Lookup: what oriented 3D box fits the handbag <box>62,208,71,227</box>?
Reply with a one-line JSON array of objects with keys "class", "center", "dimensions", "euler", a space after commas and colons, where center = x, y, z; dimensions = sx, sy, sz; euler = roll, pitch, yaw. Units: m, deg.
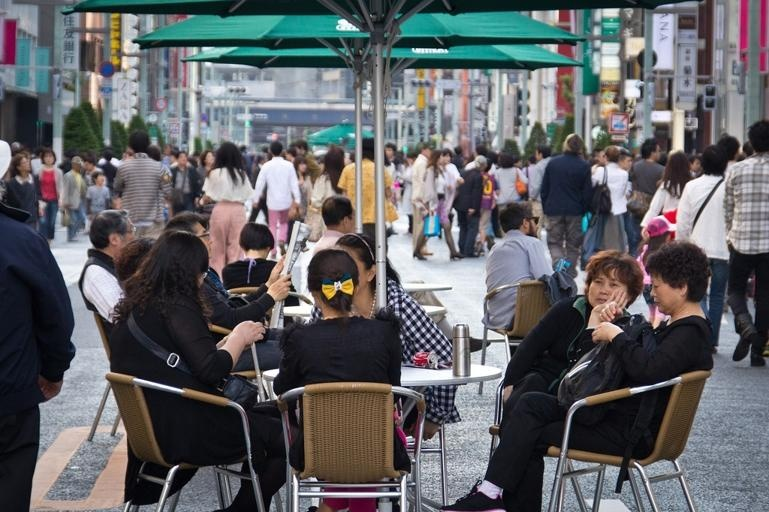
[{"class": "handbag", "center": [-7.135, -0.866, 23.904], "dimensions": [0.144, 0.349, 0.320], "euler": [-3, 5, 2]}]

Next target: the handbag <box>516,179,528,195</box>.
[{"class": "handbag", "center": [2.882, -1.452, 22.581], "dimensions": [0.150, 0.292, 0.188], "euler": [-28, -9, -31]}]

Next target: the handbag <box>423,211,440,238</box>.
[{"class": "handbag", "center": [0.877, -0.605, 20.425], "dimensions": [0.365, 0.569, 0.295], "euler": [-2, -22, 6]}]

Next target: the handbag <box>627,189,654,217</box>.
[{"class": "handbag", "center": [4.131, -0.855, 17.381], "dimensions": [0.303, 0.443, 0.587], "euler": [4, 12, 13]}]

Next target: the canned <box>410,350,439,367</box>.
[{"class": "canned", "center": [0.277, 0.734, 7.491], "dimensions": [0.155, 0.079, 0.093], "euler": [4, -6, -29]}]

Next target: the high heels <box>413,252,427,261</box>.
[{"class": "high heels", "center": [0.684, 0.038, 20.978], "dimensions": [0.313, 0.151, 0.104], "euler": [-6, 9, -41]}]

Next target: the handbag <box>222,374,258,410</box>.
[{"class": "handbag", "center": [-0.987, 0.941, 7.357], "dimensions": [0.214, 0.169, 0.177], "euler": [33, -5, 6]}]

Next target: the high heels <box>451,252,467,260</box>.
[{"class": "high heels", "center": [1.464, 0.027, 21.289], "dimensions": [0.320, 0.153, 0.112], "euler": [-12, 5, -22]}]

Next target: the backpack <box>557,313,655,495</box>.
[{"class": "backpack", "center": [1.412, 0.948, 7.073], "dimensions": [0.291, 1.078, 0.738], "euler": [15, 4, -15]}]
